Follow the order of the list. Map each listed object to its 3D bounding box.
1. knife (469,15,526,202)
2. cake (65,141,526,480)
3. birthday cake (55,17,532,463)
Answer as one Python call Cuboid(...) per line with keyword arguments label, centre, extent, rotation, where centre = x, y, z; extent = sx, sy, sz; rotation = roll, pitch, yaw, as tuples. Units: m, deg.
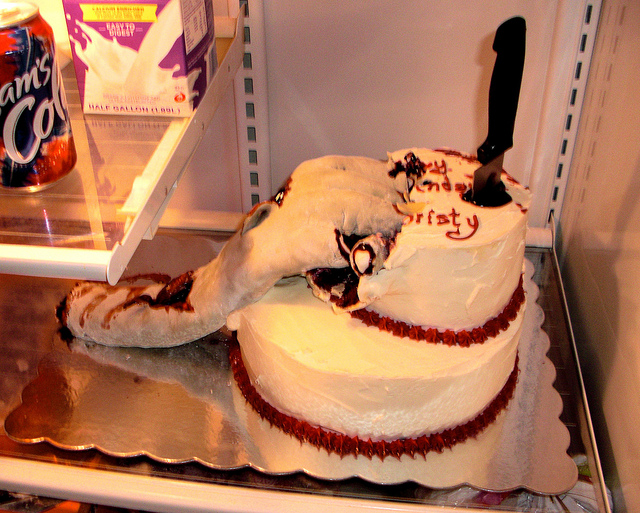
Cuboid(label="knife", centre=(0.301, -0.230, 0.951), extent=(0.085, 0.292, 0.052), rotation=(-19, 36, -32))
Cuboid(label="cake", centre=(-0.001, 0.128, 1.116), extent=(0.646, 0.371, 0.482), rotation=(-3, 43, 3))
Cuboid(label="birthday cake", centre=(-0.046, -0.088, 1.053), extent=(0.816, 0.721, 0.554), rotation=(2, 28, -11))
